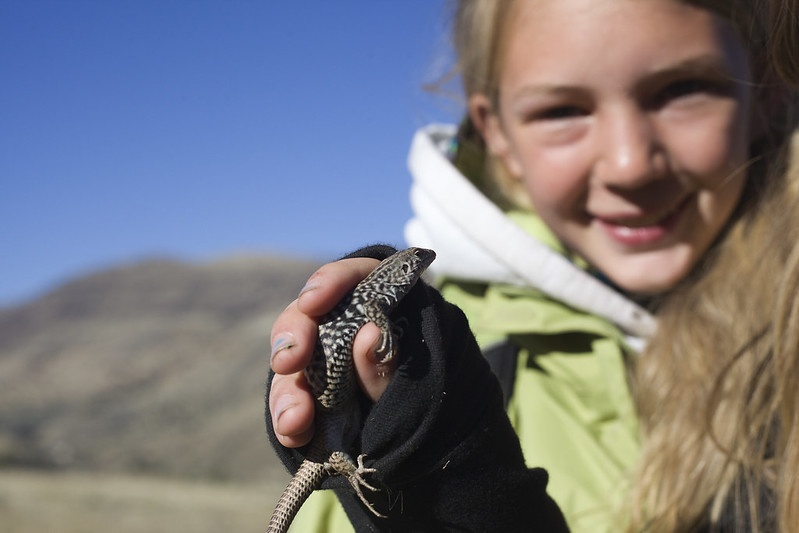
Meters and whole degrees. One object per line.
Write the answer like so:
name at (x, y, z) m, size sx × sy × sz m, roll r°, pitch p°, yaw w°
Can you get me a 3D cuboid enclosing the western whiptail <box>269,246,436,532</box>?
western whiptail at (-0.184, 0.330, 2.786) m, size 0.240 × 0.937 × 0.456 m, roll 22°, pitch 9°, yaw -8°
